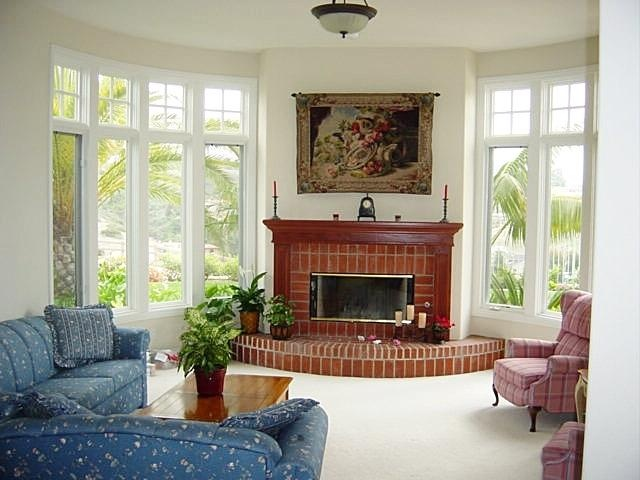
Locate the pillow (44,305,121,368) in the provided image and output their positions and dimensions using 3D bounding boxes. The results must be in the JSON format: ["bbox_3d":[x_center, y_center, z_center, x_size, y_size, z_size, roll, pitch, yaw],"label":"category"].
[{"bbox_3d":[-1.941,0.789,4.198,0.127,0.472,0.489,-25,-17,39],"label":"pillow"}]

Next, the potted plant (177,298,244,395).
[{"bbox_3d":[-0.835,0.790,3.722,0.435,0.602,0.441,-10,1,-25],"label":"potted plant"}]

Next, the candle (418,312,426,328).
[{"bbox_3d":[1.158,0.916,5.863,0.106,0.204,0.300,2,4,12],"label":"candle"}]

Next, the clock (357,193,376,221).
[{"bbox_3d":[0.540,-0.378,5.892,0.270,0.366,0.263,0,-2,4],"label":"clock"}]

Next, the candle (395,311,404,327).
[{"bbox_3d":[0.892,0.889,5.862,0.087,0.203,0.278,1,4,9],"label":"candle"}]

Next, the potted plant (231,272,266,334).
[{"bbox_3d":[-0.842,0.771,6.093,0.415,0.653,0.465,-3,-7,21],"label":"potted plant"}]

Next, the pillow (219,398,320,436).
[{"bbox_3d":[-0.226,0.815,2.482,0.143,0.140,0.545,14,9,35],"label":"pillow"}]

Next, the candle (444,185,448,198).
[{"bbox_3d":[1.418,-0.544,5.827,0.039,0.170,0.265,2,4,13],"label":"candle"}]

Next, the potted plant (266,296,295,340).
[{"bbox_3d":[-0.438,0.858,5.726,0.460,0.538,0.434,1,-6,-7],"label":"potted plant"}]

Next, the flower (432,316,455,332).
[{"bbox_3d":[1.365,0.929,5.762,0.191,0.108,0.192,1,-3,20],"label":"flower"}]

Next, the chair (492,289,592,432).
[{"bbox_3d":[1.957,0.989,4.425,0.918,0.969,0.935,0,3,32],"label":"chair"}]
